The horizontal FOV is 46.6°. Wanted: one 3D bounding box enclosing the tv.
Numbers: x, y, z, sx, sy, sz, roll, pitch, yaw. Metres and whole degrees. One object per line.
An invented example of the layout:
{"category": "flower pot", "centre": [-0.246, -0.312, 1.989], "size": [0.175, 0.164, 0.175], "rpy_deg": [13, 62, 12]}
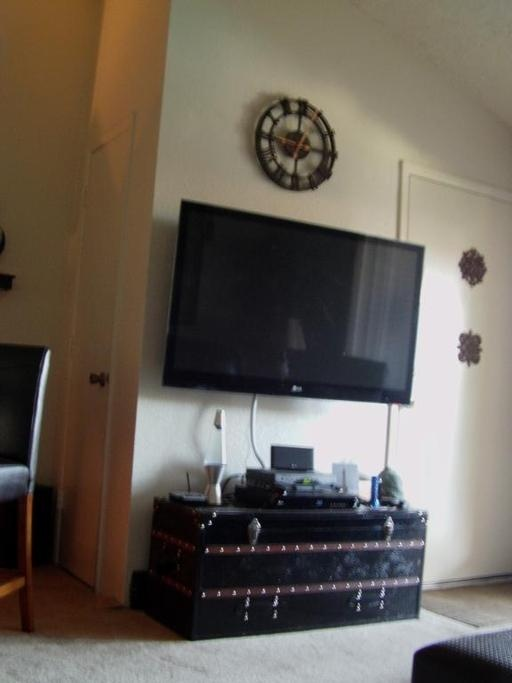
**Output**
{"category": "tv", "centre": [0.218, -0.150, 2.558], "size": [1.241, 0.811, 0.087], "rpy_deg": [9, -9, -28]}

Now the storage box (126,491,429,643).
{"category": "storage box", "centre": [0.153, 0.839, 2.250], "size": [1.074, 0.421, 0.325], "rpy_deg": [9, -9, -24]}

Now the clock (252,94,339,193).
{"category": "clock", "centre": [0.190, -0.893, 2.689], "size": [0.345, 0.457, 0.045], "rpy_deg": [9, -13, -6]}
